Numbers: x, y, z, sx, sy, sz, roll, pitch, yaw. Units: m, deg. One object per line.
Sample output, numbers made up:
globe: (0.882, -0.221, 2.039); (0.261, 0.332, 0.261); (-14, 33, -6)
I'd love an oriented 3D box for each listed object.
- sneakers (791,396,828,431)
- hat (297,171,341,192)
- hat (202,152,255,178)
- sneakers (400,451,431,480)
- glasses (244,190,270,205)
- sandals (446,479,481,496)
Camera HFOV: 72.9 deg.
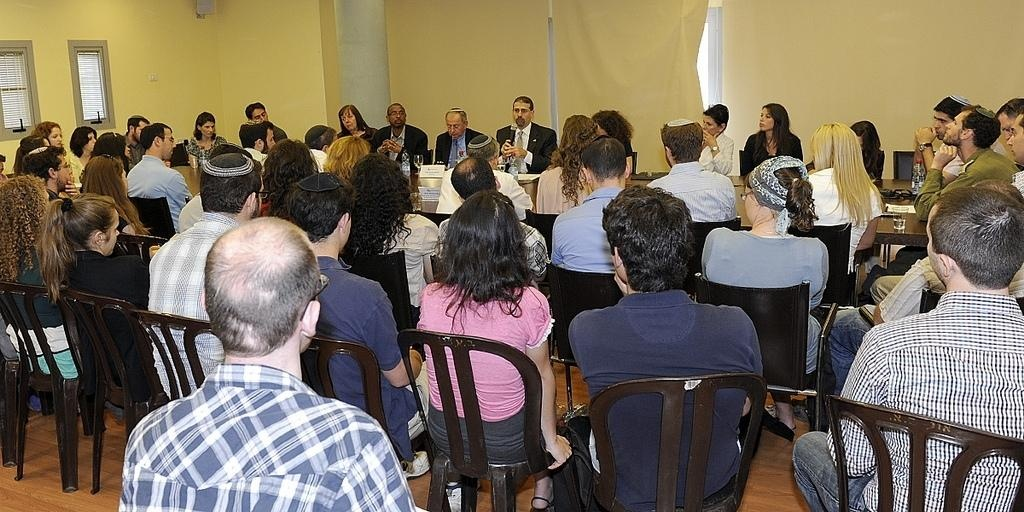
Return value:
sneakers: (2.049, 1.058, 4.798); (0.305, 0.263, 0.488); (-4, -21, 24)
hat: (-1.161, -0.449, 4.190); (0.263, 0.116, 0.136); (-4, 6, -18)
hat: (-1.835, -0.595, 4.492); (0.312, 0.165, 0.240); (-4, 6, -18)
sneakers: (-0.622, 1.374, 4.505); (0.165, 0.177, 0.120); (-4, 6, -14)
glasses: (-1.754, -0.410, 4.769); (0.171, 0.054, 0.170); (0, -13, -42)
sandals: (-0.296, 1.370, 4.147); (0.177, 0.122, 0.139); (-4, 6, -9)
